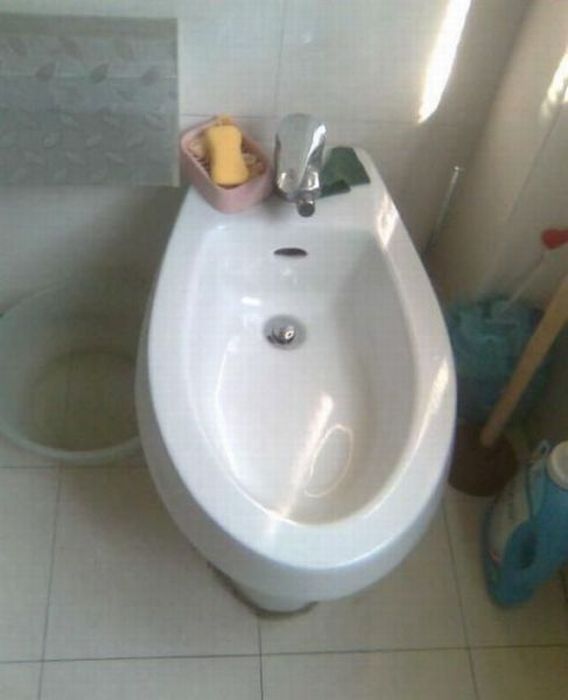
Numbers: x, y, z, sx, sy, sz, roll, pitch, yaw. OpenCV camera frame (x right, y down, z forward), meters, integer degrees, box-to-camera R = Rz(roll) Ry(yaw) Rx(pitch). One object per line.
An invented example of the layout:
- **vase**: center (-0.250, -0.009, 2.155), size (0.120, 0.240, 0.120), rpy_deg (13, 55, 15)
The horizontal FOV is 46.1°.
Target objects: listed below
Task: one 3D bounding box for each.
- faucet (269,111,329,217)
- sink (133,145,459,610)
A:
- **faucet**: center (0.016, -0.206, 0.747), size (0.055, 0.083, 0.085), rpy_deg (3, 48, -1)
- **sink**: center (0.016, 0.023, 0.846), size (0.331, 0.362, 0.550), rpy_deg (-2, 71, -2)
